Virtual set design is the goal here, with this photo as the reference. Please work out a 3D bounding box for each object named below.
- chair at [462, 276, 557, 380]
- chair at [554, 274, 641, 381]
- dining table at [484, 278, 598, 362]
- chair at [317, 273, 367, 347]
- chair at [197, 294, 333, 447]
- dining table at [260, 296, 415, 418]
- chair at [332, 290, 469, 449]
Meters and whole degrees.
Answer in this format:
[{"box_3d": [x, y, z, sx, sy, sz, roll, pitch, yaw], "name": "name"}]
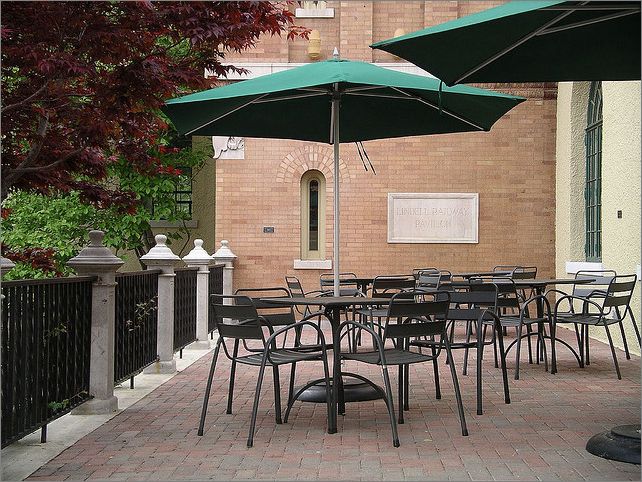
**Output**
[{"box_3d": [2.332, 0.988, 9.387, 0.660, 0.810, 0.553, -19, 5, -10], "name": "chair"}, {"box_3d": [3.768, 1.015, 10.563, 1.024, 1.231, 3.745, 0, 3, 18], "name": "chair"}, {"box_3d": [3.022, 0.958, 10.014, 1.348, 0.802, 1.237, 0, -1, -7], "name": "dining table"}, {"box_3d": [0.180, 0.870, 10.354, 0.792, 0.768, 0.747, -12, 12, -14], "name": "chair"}, {"box_3d": [-0.301, 1.142, 7.311, 1.204, 1.290, 0.965, -6, -26, 10], "name": "chair"}, {"box_3d": [0.060, 1.063, 7.399, 1.301, 1.069, 1.198, -1, -2, -4], "name": "dining table"}, {"box_3d": [0.798, 1.084, 7.378, 1.198, 1.624, 1.430, 1, -1, -35], "name": "chair"}]
